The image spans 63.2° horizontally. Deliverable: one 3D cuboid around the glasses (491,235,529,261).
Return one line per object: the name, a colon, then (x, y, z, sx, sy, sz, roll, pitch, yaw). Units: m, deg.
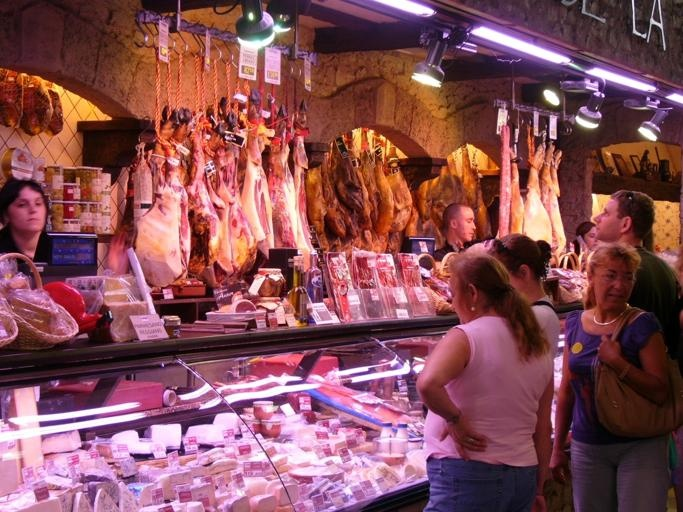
glasses: (0.774, -0.041, 2.584, 0.133, 0.109, 0.103, 14, -9, 2)

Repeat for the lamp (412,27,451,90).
lamp: (0.670, -1.522, 4.370, 0.318, 0.340, 0.315, 4, 3, 21)

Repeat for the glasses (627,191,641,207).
glasses: (1.612, -0.315, 3.087, 0.084, 0.066, 0.036, 28, -2, -22)

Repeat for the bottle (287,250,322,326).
bottle: (-0.189, 0.164, 2.886, 0.159, 0.364, 0.118, 5, 8, 42)

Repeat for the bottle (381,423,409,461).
bottle: (0.256, 0.930, 2.790, 0.142, 0.163, 0.149, 1, -5, -3)

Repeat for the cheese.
cheese: (-0.858, 0.199, 2.159, 0.196, 0.231, 0.130, -3, 8, 2)
